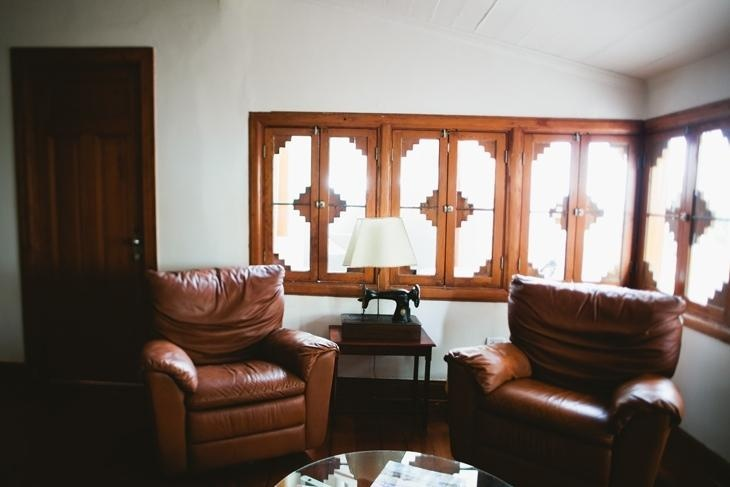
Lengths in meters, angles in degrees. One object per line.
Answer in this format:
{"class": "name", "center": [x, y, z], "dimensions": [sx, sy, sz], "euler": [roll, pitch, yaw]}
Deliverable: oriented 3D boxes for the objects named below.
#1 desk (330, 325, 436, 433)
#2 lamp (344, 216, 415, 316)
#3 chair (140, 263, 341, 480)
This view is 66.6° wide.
{"class": "desk", "center": [0.148, 1.053, 4.556], "dimensions": [0.829, 0.793, 0.620], "euler": [1, 7, 3]}
{"class": "lamp", "center": [0.098, 0.144, 4.476], "dimensions": [0.636, 0.831, 0.614], "euler": [-1, 7, -6]}
{"class": "chair", "center": [-1.052, 0.869, 4.300], "dimensions": [1.449, 1.280, 1.097], "euler": [0, 3, -35]}
